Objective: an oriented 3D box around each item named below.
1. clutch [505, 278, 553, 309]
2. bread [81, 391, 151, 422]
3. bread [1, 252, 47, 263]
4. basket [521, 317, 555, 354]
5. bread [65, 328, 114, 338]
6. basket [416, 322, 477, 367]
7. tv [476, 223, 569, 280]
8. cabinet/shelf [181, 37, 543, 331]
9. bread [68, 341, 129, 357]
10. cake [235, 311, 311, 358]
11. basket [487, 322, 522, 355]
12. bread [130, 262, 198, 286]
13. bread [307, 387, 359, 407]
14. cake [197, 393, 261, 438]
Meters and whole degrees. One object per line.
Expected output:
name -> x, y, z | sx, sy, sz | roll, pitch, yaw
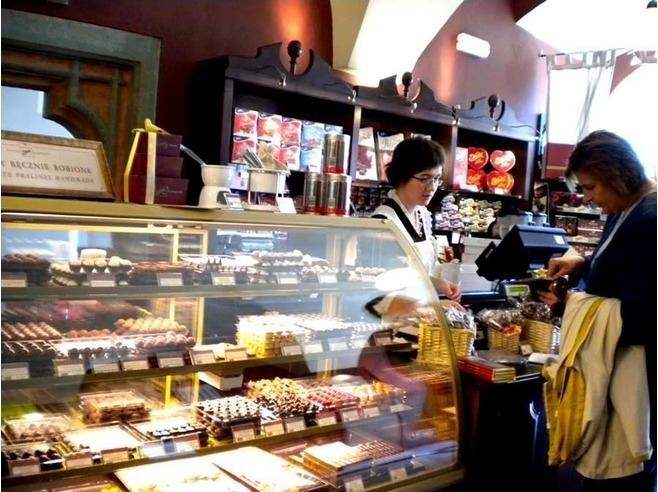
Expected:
clutch -> 1.233, 0.260, 2.794 | 0.334, 0.200, 0.085 | -2, 8, 18
bread -> -0.797, 0.599, 1.776 | 0.161, 0.048, 0.161 | 5, 3, 38
bread -> -0.989, 0.038, 1.539 | 0.013, 0.036, 0.127 | 9, 9, 42
basket -> 1.277, 0.545, 2.904 | 0.216, 0.136, 0.179 | 7, -3, 13
bread -> -0.876, 0.316, 1.732 | 0.159, 0.030, 0.045 | -2, 8, -29
basket -> 0.586, 0.413, 2.155 | 0.247, 0.180, 0.286 | -8, -3, -30
tv -> 1.209, 0.037, 2.935 | 0.457, 0.266, 0.340 | 2, -7, -37
cabinet/shelf -> 0.623, -0.932, 4.367 | 3.088, 1.141, 0.387 | 4, -8, -23
bread -> -0.822, 0.369, 1.691 | 0.195, 0.043, 0.056 | -2, 8, -30
cake -> -0.251, 0.343, 1.974 | 0.207, 0.086, 0.208 | 2, -2, -38
basket -> 1.036, 0.539, 2.796 | 0.172, 0.119, 0.185 | 1, -3, -13
bread -> -0.620, 0.101, 1.766 | 0.232, 0.080, 0.098 | 0, 7, -21
bread -> 0.013, 0.650, 2.058 | 0.139, 0.029, 0.122 | 3, 5, -33
cake -> -0.399, 0.664, 1.898 | 0.159, 0.052, 0.153 | -7, 19, -31
